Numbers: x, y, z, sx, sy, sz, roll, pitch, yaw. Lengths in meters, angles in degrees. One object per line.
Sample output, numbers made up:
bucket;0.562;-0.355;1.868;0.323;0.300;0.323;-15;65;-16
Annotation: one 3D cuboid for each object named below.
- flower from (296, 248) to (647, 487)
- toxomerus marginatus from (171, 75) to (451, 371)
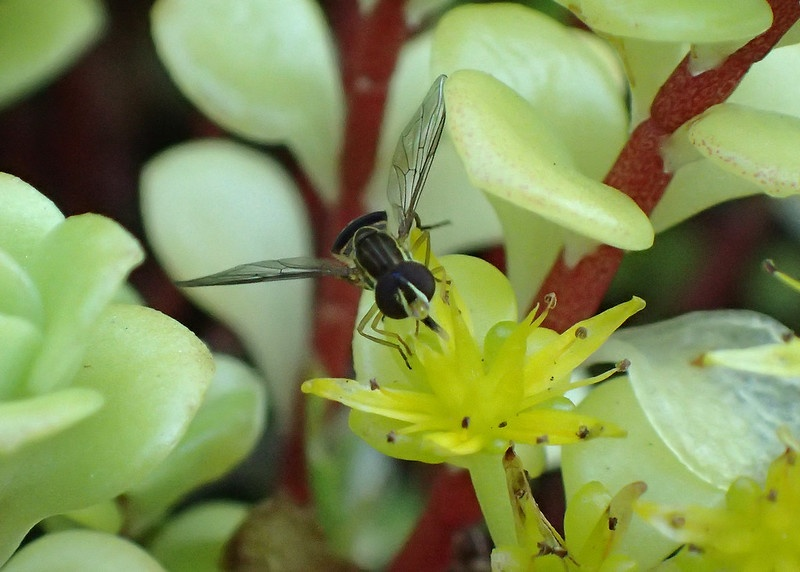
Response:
flower;0.054;0.054;0.566;0.187;0.096;0.148;14;52;15
toxomerus marginatus;-0.012;-0.024;0.686;0.155;0.130;0.251;26;62;36
